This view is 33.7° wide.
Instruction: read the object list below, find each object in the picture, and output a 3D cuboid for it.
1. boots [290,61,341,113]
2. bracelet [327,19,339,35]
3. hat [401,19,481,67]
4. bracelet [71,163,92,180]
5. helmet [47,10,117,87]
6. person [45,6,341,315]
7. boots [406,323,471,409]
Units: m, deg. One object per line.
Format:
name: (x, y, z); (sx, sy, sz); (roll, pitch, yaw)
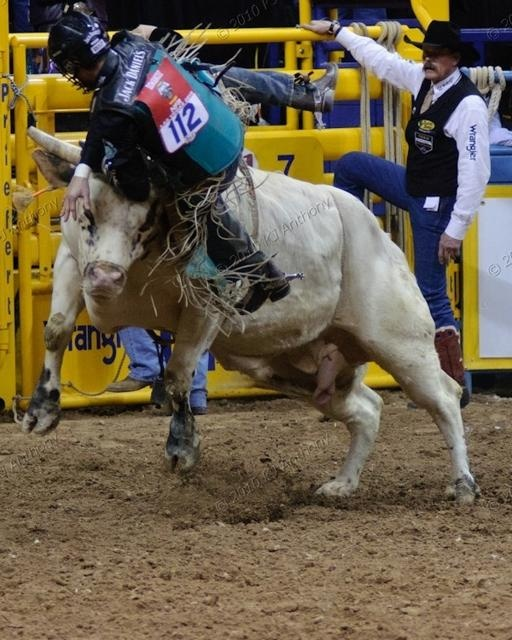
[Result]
boots: (0.397, -1.588, 5.695); (0.140, 0.253, 0.406); (-24, 35, -35)
bracelet: (0.555, -2.092, 6.023); (0.074, 0.099, 0.114); (10, 12, 36)
hat: (1.321, -1.802, 5.638); (0.398, 0.135, 0.320); (22, -4, -42)
bracelet: (-0.566, -0.487, 2.770); (0.059, 0.052, 0.058); (0, 8, -36)
helmet: (-0.590, -0.931, 2.897); (0.230, 0.261, 0.208); (6, 8, 13)
person: (-0.294, -0.536, 3.063); (0.896, 1.037, 0.376); (-1, 10, -40)
boots: (1.427, 0.335, 6.224); (0.607, 0.569, 0.466); (-9, 10, -3)
